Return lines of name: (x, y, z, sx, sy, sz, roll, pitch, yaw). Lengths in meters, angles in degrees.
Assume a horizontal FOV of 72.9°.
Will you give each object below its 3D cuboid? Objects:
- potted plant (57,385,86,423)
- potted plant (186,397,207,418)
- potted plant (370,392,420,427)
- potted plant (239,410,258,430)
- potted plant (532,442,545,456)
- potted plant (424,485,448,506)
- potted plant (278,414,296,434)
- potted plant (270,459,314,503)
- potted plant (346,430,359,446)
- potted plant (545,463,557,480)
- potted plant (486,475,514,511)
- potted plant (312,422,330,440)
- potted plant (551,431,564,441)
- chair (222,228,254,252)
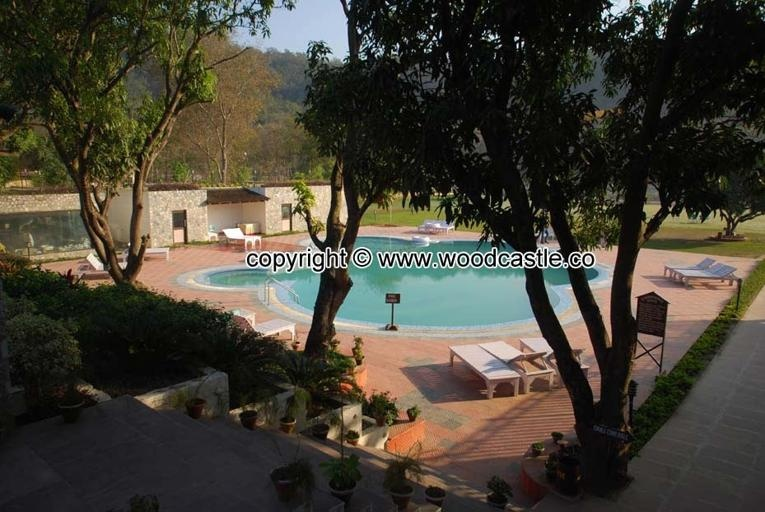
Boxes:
potted plant: (-4.407, 2.061, 7.373, 0.360, 0.427, 0.396, 8, 15, 23)
potted plant: (-2.830, 2.316, 7.864, 0.262, 0.206, 0.262, 8, 12, 42)
potted plant: (0.155, 2.956, 9.878, 0.685, 0.538, 0.716, 11, -5, -21)
potted plant: (-2.081, 2.512, 8.040, 0.239, 0.200, 0.248, 8, 19, 32)
potted plant: (2.759, 3.443, 9.176, 0.225, 0.168, 0.211, -1, 2, 44)
potted plant: (0.766, 3.423, 7.497, 0.255, 0.281, 0.258, 1, -2, -39)
potted plant: (-1.536, 2.714, 8.309, 0.225, 0.183, 0.240, 0, -2, 0)
potted plant: (-1.128, 2.781, 6.395, 0.397, 0.333, 0.432, 2, 0, 40)
potted plant: (-0.516, 3.128, 8.865, 0.202, 0.142, 0.212, -1, 2, 23)
potted plant: (2.804, 3.598, 8.584, 0.136, 0.202, 0.167, 16, 31, 26)
potted plant: (1.840, 3.753, 8.114, 0.339, 0.501, 0.376, -14, 19, -42)
potted plant: (-1.029, 2.904, 8.554, 0.216, 0.180, 0.228, -2, 5, -19)
potted plant: (3.239, 3.341, 9.537, 0.156, 0.118, 0.167, 0, 6, -4)
chair: (-7.487, -0.963, 27.245, 1.814, 1.153, 1.136, 13, 19, 42)
